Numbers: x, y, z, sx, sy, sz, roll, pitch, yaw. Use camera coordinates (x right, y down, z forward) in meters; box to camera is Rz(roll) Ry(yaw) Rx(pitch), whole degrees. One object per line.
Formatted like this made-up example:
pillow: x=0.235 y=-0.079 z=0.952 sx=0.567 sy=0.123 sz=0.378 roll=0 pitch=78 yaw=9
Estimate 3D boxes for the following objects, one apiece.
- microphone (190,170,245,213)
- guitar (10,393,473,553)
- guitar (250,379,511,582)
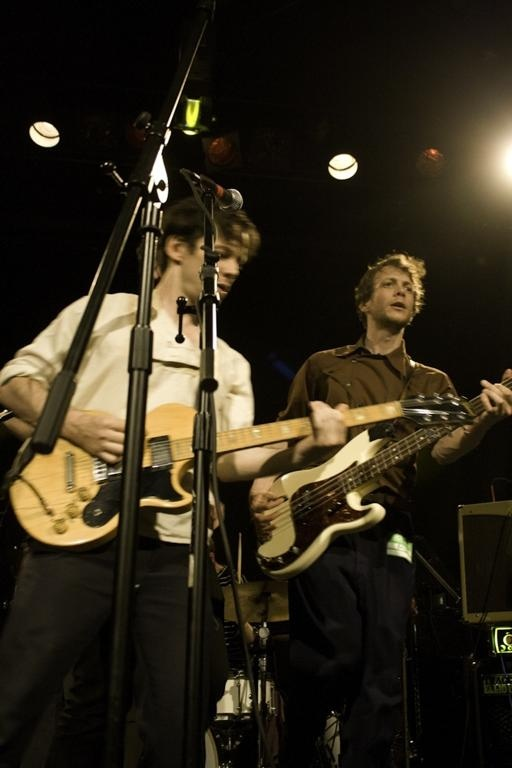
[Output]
microphone: x=-0.116 y=-0.603 z=2.165 sx=0.075 sy=0.079 sz=0.261 roll=5 pitch=7 yaw=15
guitar: x=-0.024 y=0.292 z=2.349 sx=0.827 sy=0.270 sz=0.123 roll=-12 pitch=-28 yaw=-9
guitar: x=0.532 y=0.427 z=2.924 sx=1.053 sy=0.387 sz=0.151 roll=-35 pitch=-32 yaw=1
